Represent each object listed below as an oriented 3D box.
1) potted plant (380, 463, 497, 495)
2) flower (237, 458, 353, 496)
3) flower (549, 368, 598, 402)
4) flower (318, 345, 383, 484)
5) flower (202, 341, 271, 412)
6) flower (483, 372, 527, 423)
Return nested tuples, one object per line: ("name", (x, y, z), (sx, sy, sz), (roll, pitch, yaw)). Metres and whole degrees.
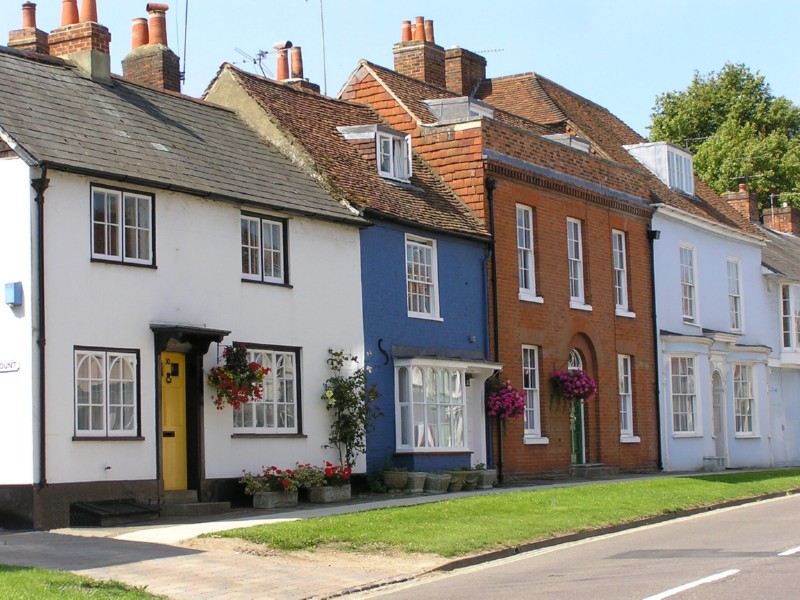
("potted plant", (1.011, 4.556, 29.583), (1.055, 0.692, 3.338), (-12, -14, 39))
("flower", (-2.360, 4.029, 26.503), (2.676, 0.717, 0.780), (6, -14, -41))
("flower", (5.032, 2.460, 33.902), (0.935, 0.748, 0.992), (5, -6, -36))
("flower", (-1.144, 2.657, 28.103), (0.764, 3.017, 1.542), (-9, -12, 35))
("flower", (-3.536, 1.657, 25.762), (0.753, 1.474, 1.359), (-10, -12, 36))
("flower", (2.831, 2.585, 31.878), (1.013, 1.246, 0.530), (4, -12, -34))
